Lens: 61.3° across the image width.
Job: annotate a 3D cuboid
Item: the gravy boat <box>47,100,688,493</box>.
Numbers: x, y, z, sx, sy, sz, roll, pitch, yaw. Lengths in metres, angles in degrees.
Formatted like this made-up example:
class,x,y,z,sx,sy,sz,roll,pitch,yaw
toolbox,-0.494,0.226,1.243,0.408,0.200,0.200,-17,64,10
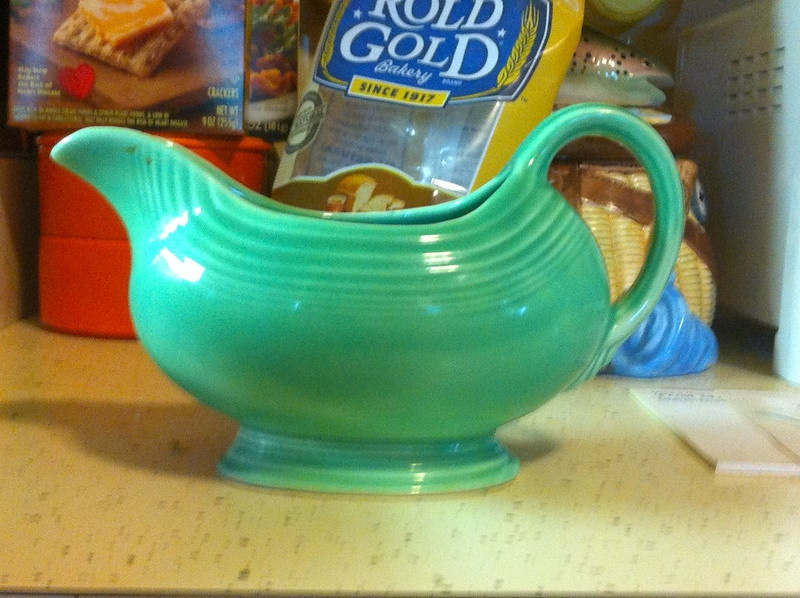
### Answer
class,x,y,z,sx,sy,sz,roll,pitch,yaw
gravy boat,-0.010,-0.008,0.504,0.442,0.256,0.249,1,9,-4
